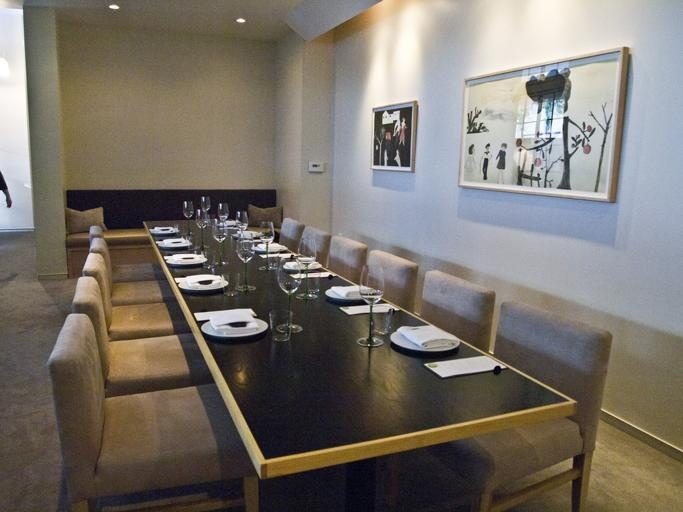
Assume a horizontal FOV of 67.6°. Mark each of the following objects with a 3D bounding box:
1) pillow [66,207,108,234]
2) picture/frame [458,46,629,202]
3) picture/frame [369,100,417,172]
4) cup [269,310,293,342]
[{"bbox_3d":[-3.239,-0.444,6.451,0.433,0.312,0.157,-13,-7,-32],"label":"pillow"},{"bbox_3d":[1.481,-0.947,3.666,0.048,0.876,1.262,-5,9,-29],"label":"picture/frame"},{"bbox_3d":[0.514,-1.227,5.339,0.067,0.658,0.701,-5,12,-33],"label":"picture/frame"},{"bbox_3d":[-0.302,0.334,2.487,0.122,0.143,0.120,0,5,0],"label":"cup"}]
